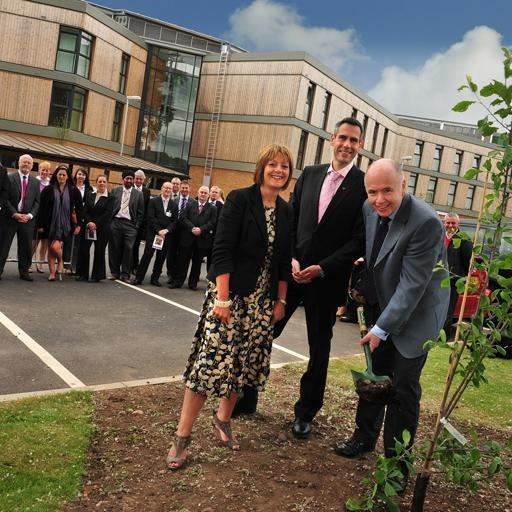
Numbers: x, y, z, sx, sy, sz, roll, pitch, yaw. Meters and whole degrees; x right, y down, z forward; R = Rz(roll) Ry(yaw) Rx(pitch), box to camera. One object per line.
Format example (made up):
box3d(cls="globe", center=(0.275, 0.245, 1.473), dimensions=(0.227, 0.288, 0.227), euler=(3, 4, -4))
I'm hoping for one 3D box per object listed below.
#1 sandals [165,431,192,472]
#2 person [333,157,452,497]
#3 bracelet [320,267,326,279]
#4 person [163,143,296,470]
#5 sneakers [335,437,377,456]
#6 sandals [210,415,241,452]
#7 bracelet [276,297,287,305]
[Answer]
box3d(cls="sandals", center=(-0.509, 1.263, 2.918), dimensions=(0.100, 0.099, 0.270), euler=(1, -2, 0))
box3d(cls="person", center=(0.894, 0.446, 3.028), dimensions=(0.692, 2.199, 0.894), euler=(11, 3, 22))
box3d(cls="bracelet", center=(0.527, 0.140, 3.573), dimensions=(0.058, 0.062, 0.068), euler=(1, -2, -4))
box3d(cls="person", center=(-0.144, 0.269, 3.172), dimensions=(0.446, 2.047, 0.916), euler=(12, 3, 30))
box3d(cls="sneakers", center=(0.749, 1.423, 3.397), dimensions=(0.352, 0.132, 0.119), euler=(9, 11, -31))
box3d(cls="sandals", center=(-0.198, 1.284, 3.267), dimensions=(0.108, 0.134, 0.339), euler=(8, 11, -45))
box3d(cls="bracelet", center=(0.186, 0.345, 3.436), dimensions=(0.068, 0.040, 0.067), euler=(-5, -28, 39))
